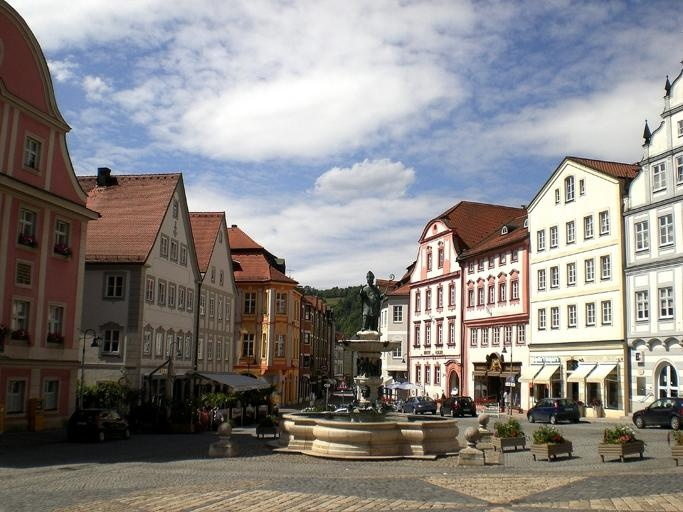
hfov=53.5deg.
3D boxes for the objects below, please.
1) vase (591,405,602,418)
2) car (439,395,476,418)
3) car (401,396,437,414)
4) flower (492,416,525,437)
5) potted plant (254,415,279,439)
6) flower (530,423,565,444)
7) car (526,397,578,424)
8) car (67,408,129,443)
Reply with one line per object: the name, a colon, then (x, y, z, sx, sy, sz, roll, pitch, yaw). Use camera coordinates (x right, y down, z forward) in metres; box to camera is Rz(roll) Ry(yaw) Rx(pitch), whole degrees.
vase: (17.832, 10.811, 47.184, 0.276, 0.776, 0.869, 3, -8, -6)
car: (9.443, 12.142, 55.138, 1.790, 1.325, 2.981, 1, -8, -9)
car: (6.134, 11.934, 53.829, 1.353, 0.998, 3.036, 3, -8, -14)
flower: (6.668, 6.866, 27.006, 1.290, 0.765, 0.860, 16, -24, -42)
potted plant: (-3.470, 8.084, 32.018, 1.028, 1.091, 1.307, 1, -18, -6)
flower: (7.682, 6.614, 25.086, 1.049, 0.715, 1.608, -7, -19, 19)
car: (13.461, 9.784, 43.273, 1.610, 1.226, 2.685, 4, -9, -24)
car: (-11.322, 7.772, 31.639, 1.469, 1.163, 2.562, -3, -7, 27)
